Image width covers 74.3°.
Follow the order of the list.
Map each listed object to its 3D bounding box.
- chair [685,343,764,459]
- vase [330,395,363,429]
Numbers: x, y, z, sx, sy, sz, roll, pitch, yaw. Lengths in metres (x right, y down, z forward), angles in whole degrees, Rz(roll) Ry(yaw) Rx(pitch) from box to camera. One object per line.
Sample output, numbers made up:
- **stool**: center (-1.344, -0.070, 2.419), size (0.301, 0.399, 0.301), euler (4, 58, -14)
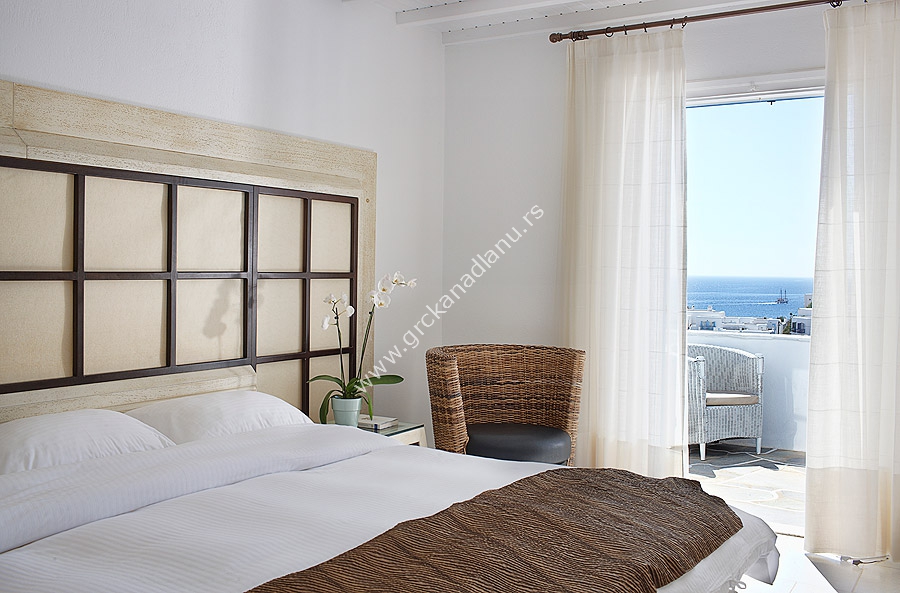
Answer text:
- **chair**: center (2.125, 0.776, 4.646), size (0.625, 0.701, 0.630), euler (-2, -1, 24)
- **vase**: center (-0.670, 0.783, 4.041), size (0.226, 0.173, 0.210), euler (0, -4, 7)
